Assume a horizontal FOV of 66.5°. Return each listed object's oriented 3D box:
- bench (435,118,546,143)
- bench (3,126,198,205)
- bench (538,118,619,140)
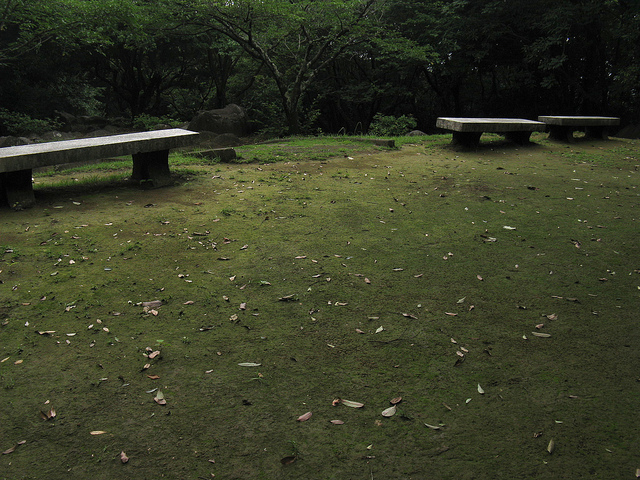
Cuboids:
[{"bbox_3d":[3.873,-2.479,11.042,1.864,0.294,0.692,-6,22,-25],"label":"bench"},{"bbox_3d":[-3.154,-1.100,6.962,1.368,0.954,2.866,7,14,38],"label":"bench"},{"bbox_3d":[6.504,-2.810,12.194,1.813,0.548,0.957,-6,12,-22],"label":"bench"}]
